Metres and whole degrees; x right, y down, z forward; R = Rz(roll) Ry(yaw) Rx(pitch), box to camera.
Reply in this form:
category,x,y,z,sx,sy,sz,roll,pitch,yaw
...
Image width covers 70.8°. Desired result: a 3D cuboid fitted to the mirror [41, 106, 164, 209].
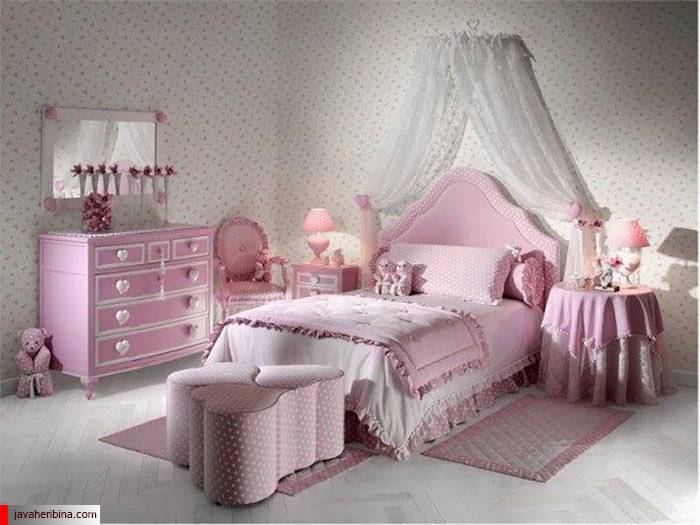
category,x,y,z,sx,sy,sz,roll,pitch,yaw
mirror,-2.216,-0.911,4.318,0.049,0.729,1.021,3,4,40

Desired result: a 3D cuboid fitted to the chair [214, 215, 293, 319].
category,x,y,z,sx,sy,sz,roll,pitch,yaw
chair,-1.061,0.159,5.207,0.819,1.183,0.866,5,8,17

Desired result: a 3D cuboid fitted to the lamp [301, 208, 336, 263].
category,x,y,z,sx,sy,sz,roll,pitch,yaw
lamp,-0.363,-0.305,5.595,0.375,0.595,0.365,-1,8,-7

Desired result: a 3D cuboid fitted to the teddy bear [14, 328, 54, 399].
category,x,y,z,sx,sy,sz,roll,pitch,yaw
teddy bear,-2.520,0.797,3.911,0.239,0.530,0.121,-3,7,-23

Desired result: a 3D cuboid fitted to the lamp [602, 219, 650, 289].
category,x,y,z,sx,sy,sz,roll,pitch,yaw
lamp,2.321,-0.089,4.151,0.338,0.546,0.428,4,7,30

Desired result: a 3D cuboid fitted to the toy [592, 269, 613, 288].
category,x,y,z,sx,sy,sz,roll,pitch,yaw
toy,2.064,0.135,4.061,0.138,0.177,0.185,-4,-9,37

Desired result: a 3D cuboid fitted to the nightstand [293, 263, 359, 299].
category,x,y,z,sx,sy,sz,roll,pitch,yaw
nightstand,-0.289,0.190,5.484,0.599,0.587,0.407,1,1,37

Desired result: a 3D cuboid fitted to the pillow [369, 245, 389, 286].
category,x,y,z,sx,sy,sz,roll,pitch,yaw
pillow,0.317,0.053,4.819,0.120,0.326,0.227,5,19,-30

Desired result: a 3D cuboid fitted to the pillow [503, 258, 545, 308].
category,x,y,z,sx,sy,sz,roll,pitch,yaw
pillow,1.552,0.171,4.410,0.387,0.421,0.140,12,-35,4

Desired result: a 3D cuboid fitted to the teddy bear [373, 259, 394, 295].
category,x,y,z,sx,sy,sz,roll,pitch,yaw
teddy bear,0.326,0.131,4.738,0.211,0.107,0.304,-11,-24,10

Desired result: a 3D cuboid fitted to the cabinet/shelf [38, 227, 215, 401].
category,x,y,z,sx,sy,sz,roll,pitch,yaw
cabinet/shelf,-1.992,0.373,4.487,0.893,1.261,1.403,6,7,36

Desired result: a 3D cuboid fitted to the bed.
category,x,y,z,sx,sy,sz,roll,pitch,yaw
bed,0.423,0.188,4.182,1.918,1.763,2.557,6,10,37

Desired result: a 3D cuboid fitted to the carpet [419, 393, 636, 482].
category,x,y,z,sx,sy,sz,roll,pitch,yaw
carpet,1.234,1.144,3.343,1.559,0.022,0.725,-5,8,-42

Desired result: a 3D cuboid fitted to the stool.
category,x,y,z,sx,sy,sz,roll,pitch,yaw
stool,-0.490,0.929,2.939,0.854,0.500,1.058,5,7,42
